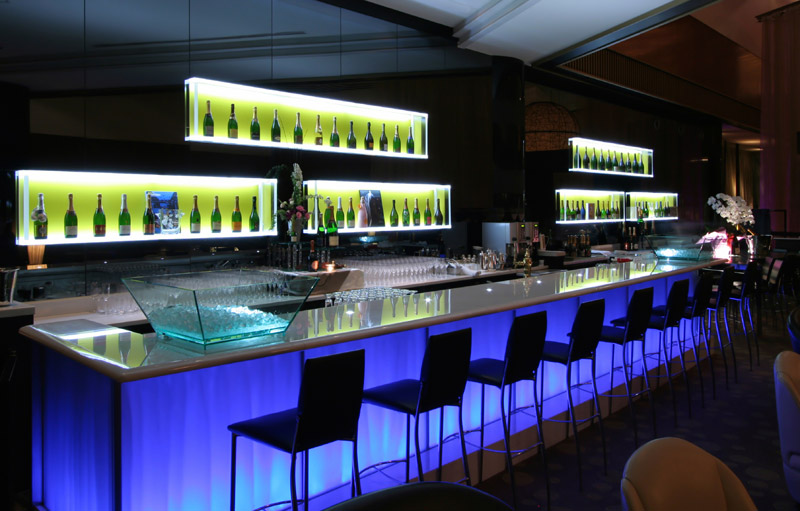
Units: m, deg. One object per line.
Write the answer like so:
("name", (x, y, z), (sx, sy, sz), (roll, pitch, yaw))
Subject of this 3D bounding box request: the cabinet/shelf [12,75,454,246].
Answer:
("cabinet/shelf", (-1.708, -1.336, 6.516), (4.149, 1.077, 0.436), (-5, 4, -26))

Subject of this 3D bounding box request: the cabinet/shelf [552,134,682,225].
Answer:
("cabinet/shelf", (3.860, -1.266, 10.203), (3.726, 1.461, 0.472), (-7, 5, -44))

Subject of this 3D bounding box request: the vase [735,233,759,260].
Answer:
("vase", (5.403, -0.149, 9.047), (0.378, 0.447, 0.391), (1, 6, 17))

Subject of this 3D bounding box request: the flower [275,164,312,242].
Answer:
("flower", (-1.169, -0.583, 6.581), (0.312, 0.841, 0.345), (3, 0, 30))

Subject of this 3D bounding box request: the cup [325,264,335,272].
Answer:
("cup", (-0.765, 0.132, 6.478), (0.079, 0.062, 0.082), (0, 0, 0))
